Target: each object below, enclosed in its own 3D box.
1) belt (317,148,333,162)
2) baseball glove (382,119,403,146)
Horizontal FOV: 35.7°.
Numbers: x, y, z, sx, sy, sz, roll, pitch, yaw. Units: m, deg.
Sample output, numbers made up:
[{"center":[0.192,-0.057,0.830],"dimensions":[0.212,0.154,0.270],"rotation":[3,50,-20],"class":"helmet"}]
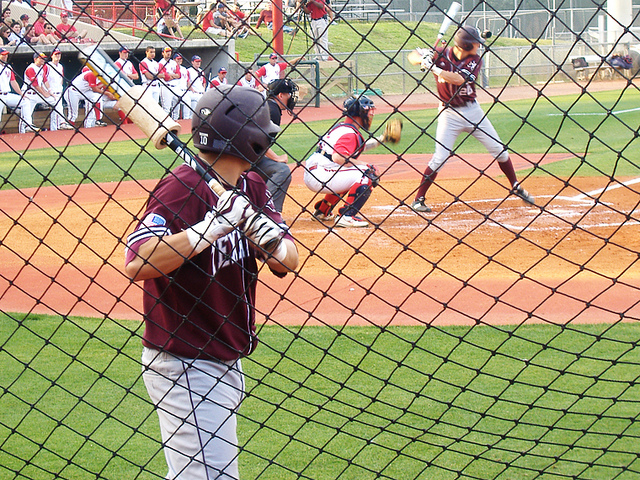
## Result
[{"center":[0.078,-0.956,11.347],"dimensions":[0.163,0.039,0.117],"rotation":[35,5,10],"class":"belt"},{"center":[0.781,-1.174,11.044],"dimensions":[0.276,0.243,0.318],"rotation":[6,0,25],"class":"baseball glove"}]
